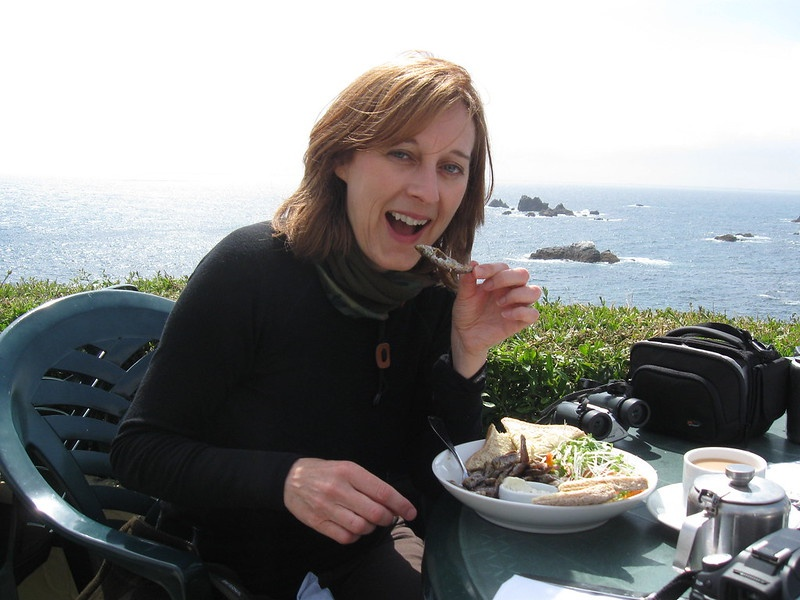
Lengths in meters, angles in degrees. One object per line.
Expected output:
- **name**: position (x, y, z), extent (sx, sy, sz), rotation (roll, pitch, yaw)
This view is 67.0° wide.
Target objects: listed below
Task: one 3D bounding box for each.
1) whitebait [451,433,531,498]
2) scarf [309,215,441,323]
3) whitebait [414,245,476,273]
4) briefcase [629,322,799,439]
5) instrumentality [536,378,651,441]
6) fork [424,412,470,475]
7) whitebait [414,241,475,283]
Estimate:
- **whitebait**: position (0.316, 0.527, 1.975), extent (0.218, 0.033, 0.138), rotation (-29, 17, -39)
- **scarf**: position (-0.060, -0.117, 2.325), extent (0.325, 0.146, 0.363), rotation (44, 21, 23)
- **whitebait**: position (0.172, -0.166, 2.466), extent (0.172, 0.059, 0.050), rotation (36, -11, -22)
- **briefcase**: position (1.308, 0.269, 2.550), extent (0.492, 0.396, 0.518), rotation (-11, 15, -29)
- **instrumentality**: position (0.809, 0.461, 2.534), extent (0.379, 0.176, 0.414), rotation (-13, 1, -4)
- **fork**: position (0.166, 0.502, 2.176), extent (0.062, 0.044, 0.302), rotation (-17, 37, -22)
- **whitebait**: position (0.198, -0.136, 2.402), extent (0.285, 0.107, 0.095), rotation (28, -26, -14)
